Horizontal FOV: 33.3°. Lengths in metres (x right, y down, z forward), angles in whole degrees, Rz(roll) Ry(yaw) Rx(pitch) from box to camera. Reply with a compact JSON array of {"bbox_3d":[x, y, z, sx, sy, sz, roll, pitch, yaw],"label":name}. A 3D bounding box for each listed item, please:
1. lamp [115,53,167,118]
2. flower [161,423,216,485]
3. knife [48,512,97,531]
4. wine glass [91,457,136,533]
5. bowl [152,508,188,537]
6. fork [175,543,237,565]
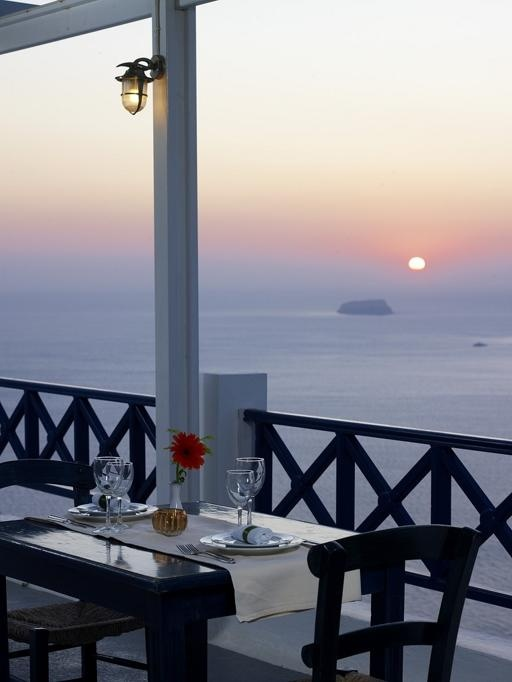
[{"bbox_3d":[-0.453,-1.002,3.307,0.188,0.230,0.116,-4,8,-25],"label":"lamp"},{"bbox_3d":[-0.158,0.268,1.968,0.115,0.108,0.098,3,15,20],"label":"flower"},{"bbox_3d":[-0.420,0.419,1.969,0.119,0.012,0.018,2,9,42],"label":"knife"},{"bbox_3d":[-0.326,0.341,1.945,0.080,0.160,0.235,2,-3,-9],"label":"wine glass"},{"bbox_3d":[-0.189,0.391,1.843,0.066,0.037,0.061,0,-5,0],"label":"bowl"},{"bbox_3d":[-0.099,0.411,1.662,0.036,0.015,0.141,-3,6,-39],"label":"fork"}]
